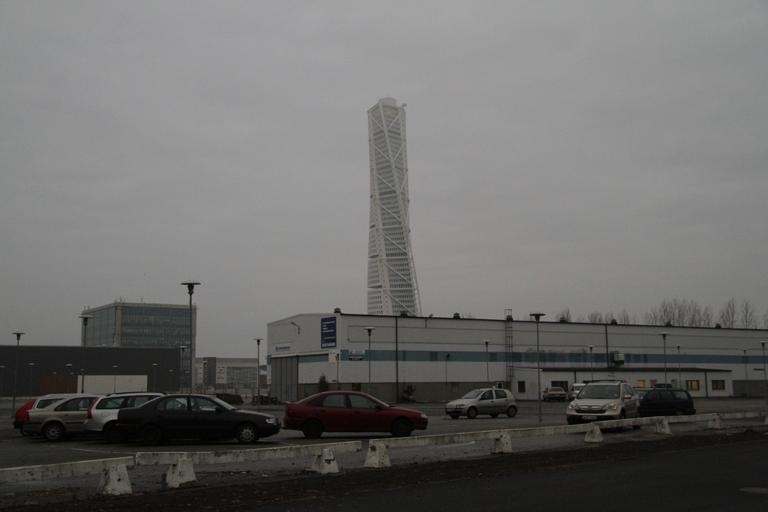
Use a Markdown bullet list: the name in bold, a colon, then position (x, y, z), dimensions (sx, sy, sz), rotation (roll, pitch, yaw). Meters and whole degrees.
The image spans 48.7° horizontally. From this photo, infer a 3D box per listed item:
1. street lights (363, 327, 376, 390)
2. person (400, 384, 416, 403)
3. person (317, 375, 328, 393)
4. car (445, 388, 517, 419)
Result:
- **street lights**: position (-1.127, 8.345, 68.859), dimensions (0.582, 4.770, 0.931), rotation (-3, -11, 10)
- **person**: position (2.104, 11.302, 69.665), dimensions (1.261, 1.403, 1.180), rotation (4, -13, -17)
- **person**: position (-4.704, 9.835, 66.298), dimensions (0.828, 1.365, 2.593), rotation (0, -12, -4)
- **car**: position (5.410, 7.964, 45.906), dimensions (3.848, 1.618, 1.506), rotation (6, -13, -29)
